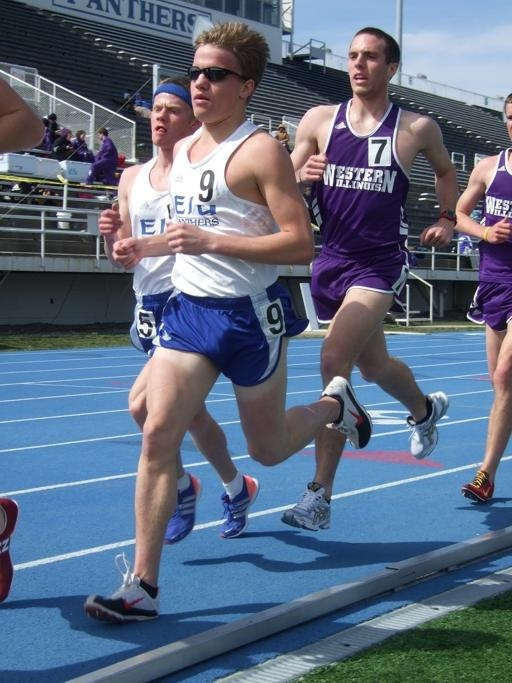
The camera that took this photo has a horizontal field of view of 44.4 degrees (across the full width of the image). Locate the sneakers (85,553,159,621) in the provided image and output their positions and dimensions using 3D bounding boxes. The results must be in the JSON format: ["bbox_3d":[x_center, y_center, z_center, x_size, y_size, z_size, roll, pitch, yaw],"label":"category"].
[{"bbox_3d":[-0.401,0.736,1.859,0.098,0.179,0.275,-22,-33,29],"label":"sneakers"}]

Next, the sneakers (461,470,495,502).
[{"bbox_3d":[1.214,0.798,3.412,0.097,0.159,0.182,15,15,43],"label":"sneakers"}]

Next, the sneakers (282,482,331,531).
[{"bbox_3d":[0.233,0.741,2.793,0.157,0.173,0.402,12,-7,27],"label":"sneakers"}]

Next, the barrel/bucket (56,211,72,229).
[{"bbox_3d":[-5.059,-3.108,16.095,0.510,0.410,0.456,3,17,2],"label":"barrel/bucket"}]

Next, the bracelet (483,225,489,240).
[{"bbox_3d":[1.316,-0.615,3.582,0.027,0.060,0.070,13,3,11],"label":"bracelet"}]

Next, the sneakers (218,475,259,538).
[{"bbox_3d":[-0.104,0.756,2.935,0.165,0.307,0.118,5,11,-42],"label":"sneakers"}]

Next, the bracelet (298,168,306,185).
[{"bbox_3d":[0.208,-0.760,2.889,0.038,0.078,0.064,-4,10,-6],"label":"bracelet"}]

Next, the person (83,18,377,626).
[{"bbox_3d":[-0.043,-0.120,2.129,0.661,1.886,1.114,7,11,9],"label":"person"}]

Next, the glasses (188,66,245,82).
[{"bbox_3d":[-0.133,-0.853,2.025,0.184,0.048,0.066,4,10,0],"label":"glasses"}]
